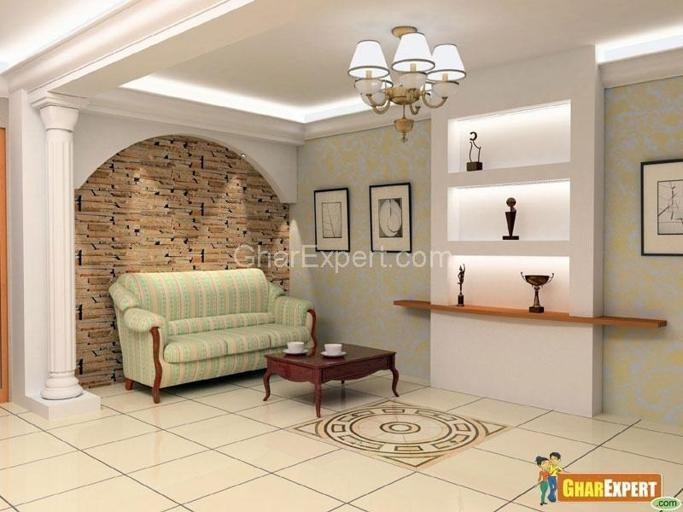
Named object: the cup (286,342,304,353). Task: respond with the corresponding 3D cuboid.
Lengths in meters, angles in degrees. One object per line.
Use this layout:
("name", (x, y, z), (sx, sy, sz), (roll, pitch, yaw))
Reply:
("cup", (-0.529, 1.017, 5.330), (0.163, 0.096, 0.158), (0, -3, 0))

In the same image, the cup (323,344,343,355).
("cup", (-0.089, 1.013, 5.213), (0.136, 0.076, 0.132), (-2, -5, 0))

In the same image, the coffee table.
("coffee table", (-0.065, 1.352, 5.321), (1.423, 0.570, 0.823), (-3, 2, -25))

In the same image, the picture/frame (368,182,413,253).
("picture/frame", (0.674, -0.519, 6.520), (0.712, 0.897, 0.039), (-5, 5, -31))

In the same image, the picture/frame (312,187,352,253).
("picture/frame", (-0.147, -0.551, 7.169), (0.707, 0.913, 0.035), (-7, 7, -43))

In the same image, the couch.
("couch", (-1.641, 0.933, 6.388), (1.336, 1.353, 2.570), (4, 2, 40))

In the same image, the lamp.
("lamp", (0.542, -1.535, 4.201), (1.011, 0.978, 1.045), (1, 5, 1))
